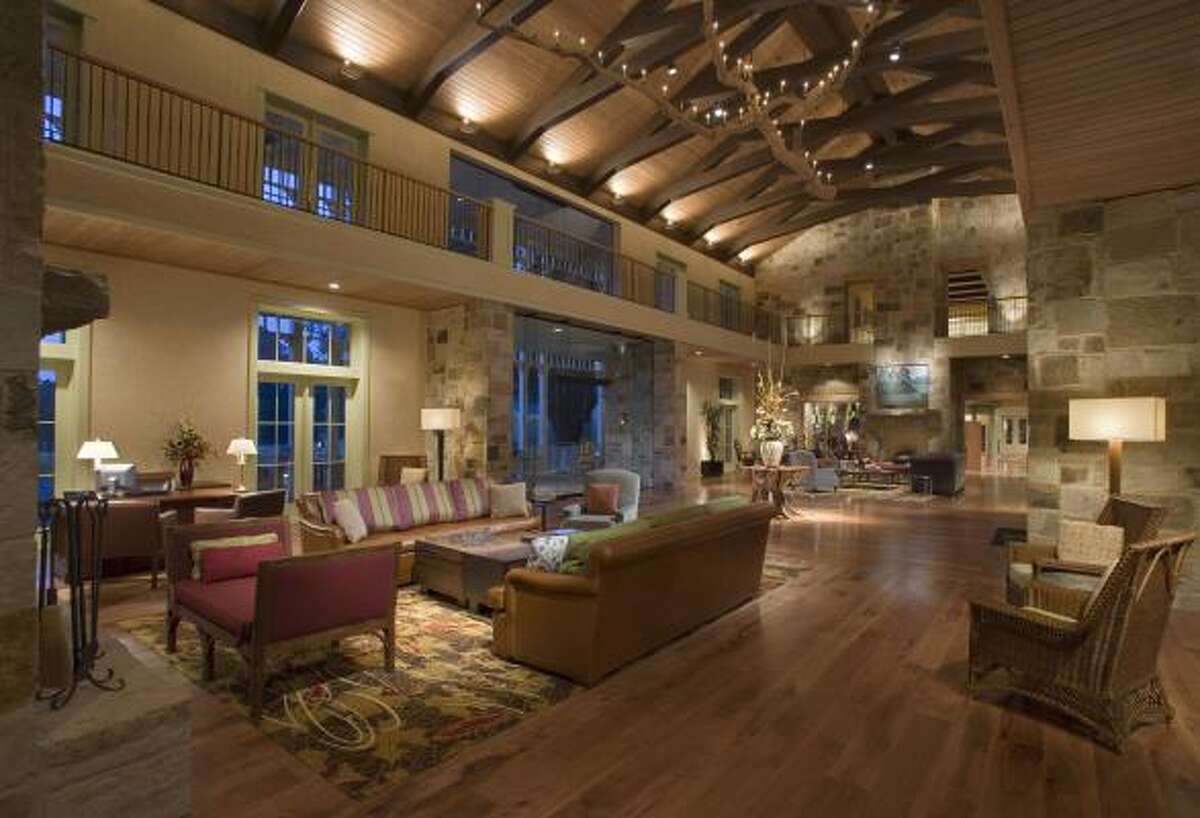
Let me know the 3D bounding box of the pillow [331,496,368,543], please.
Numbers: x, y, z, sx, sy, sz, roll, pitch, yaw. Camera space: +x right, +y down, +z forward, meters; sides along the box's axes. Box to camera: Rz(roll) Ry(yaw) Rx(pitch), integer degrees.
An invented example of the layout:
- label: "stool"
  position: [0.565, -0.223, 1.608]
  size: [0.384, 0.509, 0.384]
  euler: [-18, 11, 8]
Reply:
- label: "pillow"
  position: [-2.308, 1.018, 6.864]
  size: [0.177, 0.288, 0.345]
  euler: [-3, 12, 4]

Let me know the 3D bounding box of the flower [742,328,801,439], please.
- label: "flower"
  position: [2.432, -0.273, 10.659]
  size: [0.736, 1.410, 0.608]
  euler: [-3, 1, -8]

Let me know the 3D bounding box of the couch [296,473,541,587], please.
- label: "couch"
  position: [-1.710, 1.197, 7.680]
  size: [0.889, 0.919, 2.534]
  euler: [3, 1, 38]

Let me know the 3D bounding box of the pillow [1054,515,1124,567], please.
- label: "pillow"
  position: [3.709, 1.008, 5.690]
  size: [0.323, 0.314, 0.113]
  euler: [2, -14, 36]

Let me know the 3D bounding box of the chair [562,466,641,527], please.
- label: "chair"
  position: [-0.017, 1.110, 8.416]
  size: [0.757, 0.868, 0.832]
  euler: [2, -3, 9]

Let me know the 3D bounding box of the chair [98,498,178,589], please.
- label: "chair"
  position: [-4.502, 1.239, 7.040]
  size: [0.583, 0.784, 0.618]
  euler: [-5, -10, -44]

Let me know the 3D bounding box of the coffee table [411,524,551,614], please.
- label: "coffee table"
  position: [-1.008, 1.240, 6.740]
  size: [0.996, 0.357, 0.701]
  euler: [1, 3, 42]

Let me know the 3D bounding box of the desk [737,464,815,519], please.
- label: "desk"
  position: [2.425, 1.005, 10.507]
  size: [1.037, 0.686, 1.024]
  euler: [-1, 2, 0]

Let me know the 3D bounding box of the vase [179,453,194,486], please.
- label: "vase"
  position: [-4.527, 0.677, 8.218]
  size: [0.120, 0.239, 0.221]
  euler: [-2, -2, -34]

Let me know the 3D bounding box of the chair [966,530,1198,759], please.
- label: "chair"
  position: [3.321, 1.445, 5.443]
  size: [1.305, 1.663, 1.380]
  euler: [2, -1, -38]

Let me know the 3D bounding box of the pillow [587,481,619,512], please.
- label: "pillow"
  position: [0.027, 0.990, 8.469]
  size: [0.302, 0.290, 0.112]
  euler: [-2, -23, 12]

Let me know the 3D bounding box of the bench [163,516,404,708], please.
- label: "bench"
  position: [-2.403, 1.396, 5.610]
  size: [1.593, 0.964, 1.064]
  euler: [4, 2, 40]

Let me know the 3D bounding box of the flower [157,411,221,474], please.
- label: "flower"
  position: [-4.715, 0.417, 8.520]
  size: [0.420, 0.529, 0.406]
  euler: [2, -8, -13]

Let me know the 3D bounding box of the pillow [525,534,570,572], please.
- label: "pillow"
  position: [-0.402, 1.040, 5.520]
  size: [0.284, 0.274, 0.125]
  euler: [8, -1, -29]

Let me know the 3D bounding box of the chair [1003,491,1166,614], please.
- label: "chair"
  position: [3.477, 1.205, 5.584]
  size: [0.816, 1.050, 0.656]
  euler: [0, 28, 28]

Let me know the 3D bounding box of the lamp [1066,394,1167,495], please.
- label: "lamp"
  position: [4.383, 0.290, 6.372]
  size: [0.616, 0.928, 0.499]
  euler: [-4, -2, 42]

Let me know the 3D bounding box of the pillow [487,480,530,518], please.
- label: "pillow"
  position: [-1.027, 0.987, 8.211]
  size: [0.371, 0.342, 0.136]
  euler: [-2, -14, -7]
